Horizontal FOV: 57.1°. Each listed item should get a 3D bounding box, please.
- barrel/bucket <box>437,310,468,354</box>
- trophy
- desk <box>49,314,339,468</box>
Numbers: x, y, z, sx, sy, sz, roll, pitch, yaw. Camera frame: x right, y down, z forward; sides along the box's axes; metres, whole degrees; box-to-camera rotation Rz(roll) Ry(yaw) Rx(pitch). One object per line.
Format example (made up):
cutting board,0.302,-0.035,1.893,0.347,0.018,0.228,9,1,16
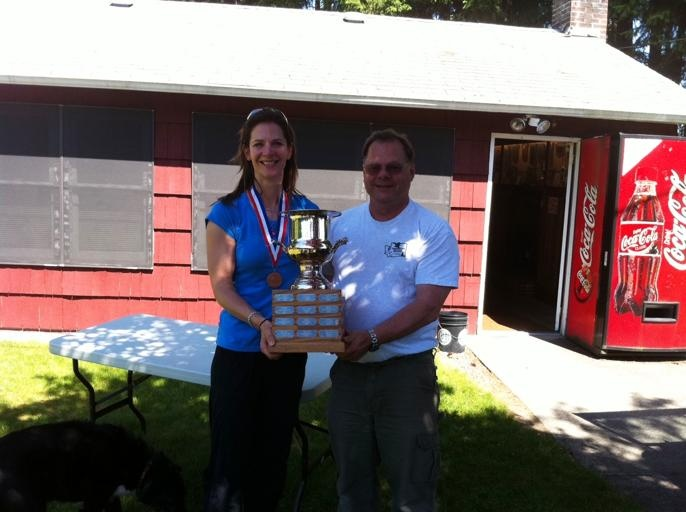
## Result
barrel/bucket,1.351,0.931,7.851,0.403,0.487,0.394,1,10,0
trophy,-0.223,-0.031,4.289,0.461,0.546,0.392,-1,-1,8
desk,-1.231,1.437,5.546,2.503,1.400,1.478,5,9,18
